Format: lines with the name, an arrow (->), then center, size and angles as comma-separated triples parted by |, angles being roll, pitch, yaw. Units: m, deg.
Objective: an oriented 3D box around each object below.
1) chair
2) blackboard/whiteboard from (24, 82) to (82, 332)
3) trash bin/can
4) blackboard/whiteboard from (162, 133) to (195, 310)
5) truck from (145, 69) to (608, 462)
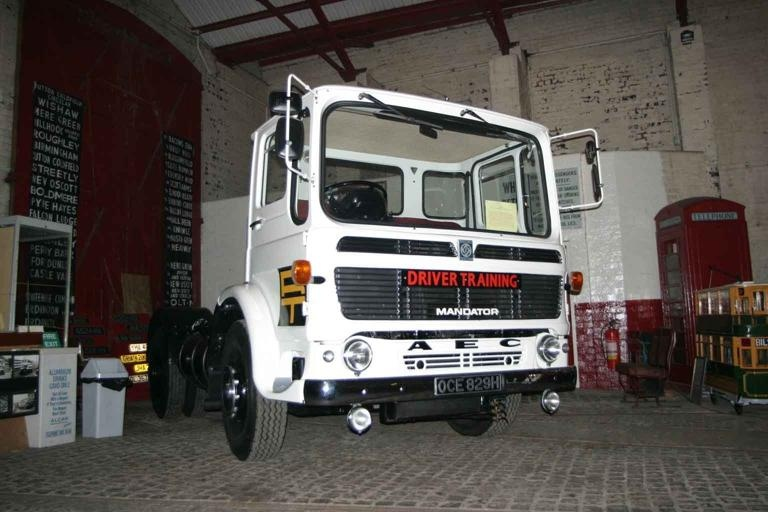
chair -> 4.723, 1.994, 10.620 | 0.836, 1.330, 1.016 | 2, -7, 2
blackboard/whiteboard -> -6.164, -0.995, 10.867 | 0.335, 4.538, 0.943 | -6, -9, 33
trash bin/can -> -4.060, 2.037, 8.496 | 0.725, 1.034, 0.673 | -1, -8, 3
blackboard/whiteboard -> -4.702, -0.826, 13.340 | 0.061, 4.051, 0.951 | -5, -7, 22
truck -> -0.871, 0.648, 9.436 | 4.481, 4.211, 7.112 | 3, -6, -29
